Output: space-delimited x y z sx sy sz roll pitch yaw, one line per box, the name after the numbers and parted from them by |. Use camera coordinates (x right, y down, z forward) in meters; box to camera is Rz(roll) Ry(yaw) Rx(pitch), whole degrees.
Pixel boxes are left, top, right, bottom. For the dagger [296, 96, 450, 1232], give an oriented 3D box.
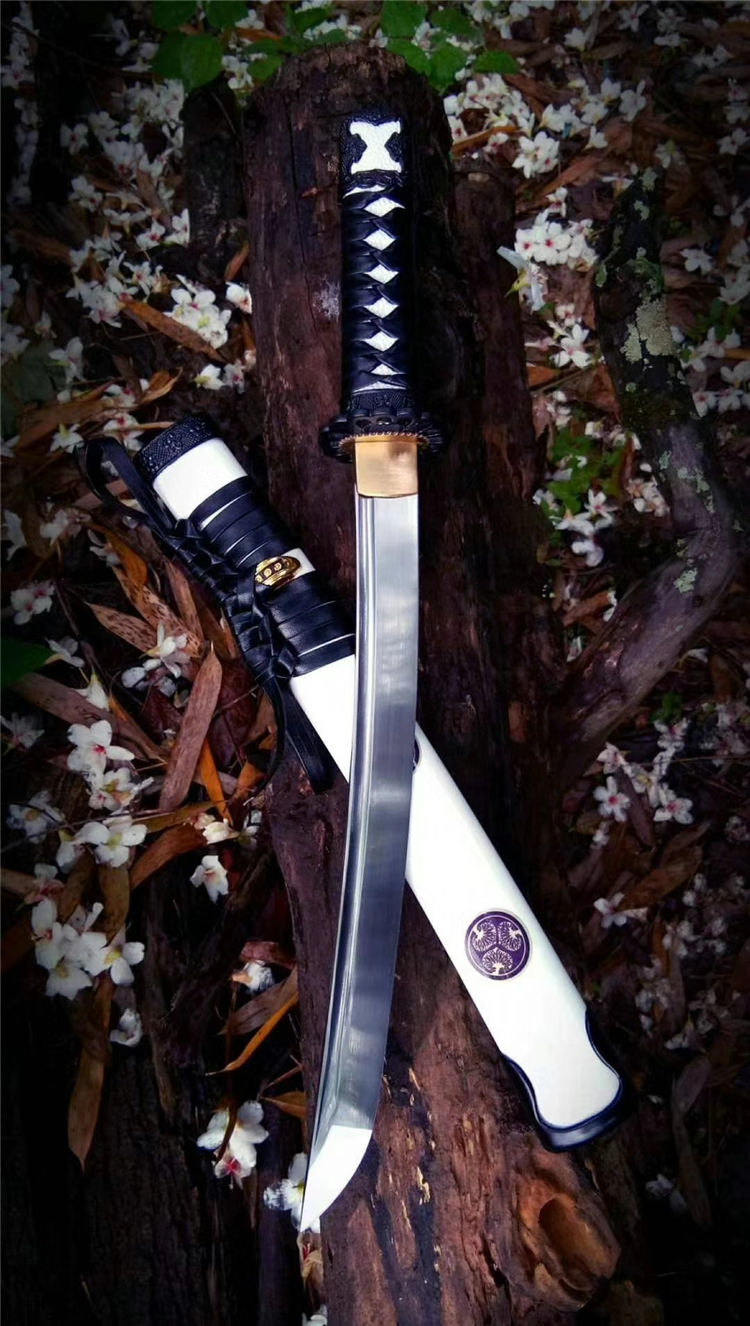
-0.012 0.011 1.282 0.170 1.344 0.089 1 -1 5 | dagger
